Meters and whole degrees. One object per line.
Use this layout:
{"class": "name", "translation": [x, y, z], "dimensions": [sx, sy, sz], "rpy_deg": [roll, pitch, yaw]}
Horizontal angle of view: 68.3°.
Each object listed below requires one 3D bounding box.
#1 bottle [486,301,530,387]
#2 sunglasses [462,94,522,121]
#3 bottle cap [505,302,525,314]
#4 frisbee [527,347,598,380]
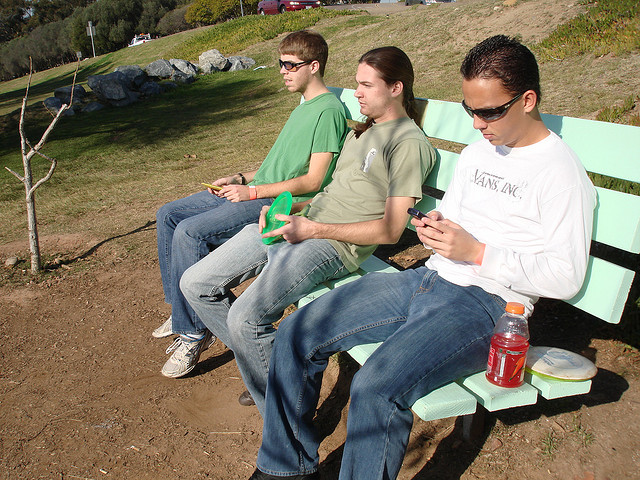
{"class": "bottle", "translation": [0.955, 0.566, 2.408], "dimensions": [0.184, 0.331, 0.253], "rpy_deg": [2, 30, 26]}
{"class": "sunglasses", "translation": [0.908, -0.708, 2.526], "dimensions": [0.306, 0.107, 0.104], "rpy_deg": [8, 32, 34]}
{"class": "bottle cap", "translation": [0.982, 0.344, 2.374], "dimensions": [0.082, 0.051, 0.060], "rpy_deg": [0, 29, 22]}
{"class": "frisbee", "translation": [1.245, 0.664, 2.488], "dimensions": [0.329, 0.053, 0.361], "rpy_deg": [3, 13, 29]}
